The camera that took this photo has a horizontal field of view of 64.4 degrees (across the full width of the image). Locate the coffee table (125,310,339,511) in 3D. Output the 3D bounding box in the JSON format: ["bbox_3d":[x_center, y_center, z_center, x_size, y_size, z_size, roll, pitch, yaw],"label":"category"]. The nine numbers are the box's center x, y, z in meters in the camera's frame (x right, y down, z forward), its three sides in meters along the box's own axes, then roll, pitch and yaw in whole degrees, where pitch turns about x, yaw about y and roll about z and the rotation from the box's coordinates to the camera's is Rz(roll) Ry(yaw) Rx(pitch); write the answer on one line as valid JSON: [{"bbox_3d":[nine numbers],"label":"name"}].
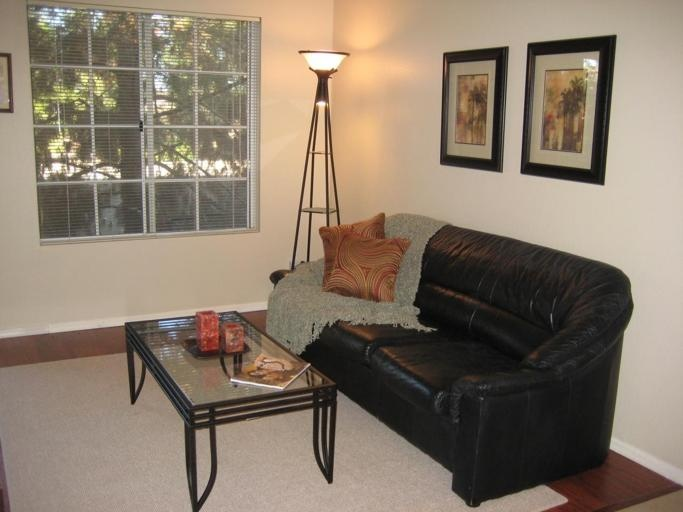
[{"bbox_3d":[-0.553,0.613,2.858,0.805,0.639,1.430,-3,14,-27],"label":"coffee table"}]

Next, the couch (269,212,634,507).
[{"bbox_3d":[0.676,0.629,3.098,0.704,0.709,1.412,-1,12,-24],"label":"couch"}]

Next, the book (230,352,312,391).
[{"bbox_3d":[-0.395,0.600,2.842,0.369,0.026,0.366,7,16,25],"label":"book"}]
